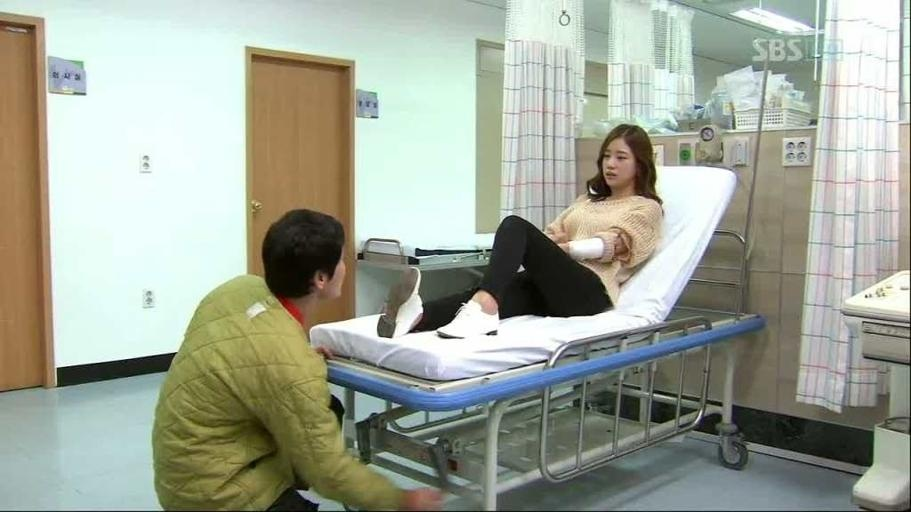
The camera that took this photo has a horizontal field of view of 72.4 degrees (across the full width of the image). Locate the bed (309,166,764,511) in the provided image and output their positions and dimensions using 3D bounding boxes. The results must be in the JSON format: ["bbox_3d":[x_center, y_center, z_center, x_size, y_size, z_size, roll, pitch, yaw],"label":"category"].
[{"bbox_3d":[0.293,0.418,3.798,2.688,1.624,1.414,-1,3,-35],"label":"bed"}]

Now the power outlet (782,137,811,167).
[{"bbox_3d":[2.088,-0.641,3.797,0.206,0.192,0.022,5,11,30],"label":"power outlet"}]

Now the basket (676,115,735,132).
[{"bbox_3d":[1.641,-0.870,4.110,0.376,0.097,0.180,6,13,28],"label":"basket"}]

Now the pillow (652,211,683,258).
[{"bbox_3d":[1.258,-0.115,3.698,0.160,0.039,0.382,27,57,22],"label":"pillow"}]

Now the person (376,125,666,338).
[{"bbox_3d":[0.434,-0.146,3.545,1.765,0.953,0.752,-9,12,-32],"label":"person"}]

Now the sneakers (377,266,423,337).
[{"bbox_3d":[-0.258,0.246,3.015,0.166,0.155,0.388,24,59,13],"label":"sneakers"}]

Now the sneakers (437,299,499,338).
[{"bbox_3d":[0.095,0.326,3.129,0.377,0.138,0.127,2,-3,-36],"label":"sneakers"}]

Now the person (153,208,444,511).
[{"bbox_3d":[-0.751,0.488,2.677,1.037,1.342,0.452,3,14,11],"label":"person"}]
